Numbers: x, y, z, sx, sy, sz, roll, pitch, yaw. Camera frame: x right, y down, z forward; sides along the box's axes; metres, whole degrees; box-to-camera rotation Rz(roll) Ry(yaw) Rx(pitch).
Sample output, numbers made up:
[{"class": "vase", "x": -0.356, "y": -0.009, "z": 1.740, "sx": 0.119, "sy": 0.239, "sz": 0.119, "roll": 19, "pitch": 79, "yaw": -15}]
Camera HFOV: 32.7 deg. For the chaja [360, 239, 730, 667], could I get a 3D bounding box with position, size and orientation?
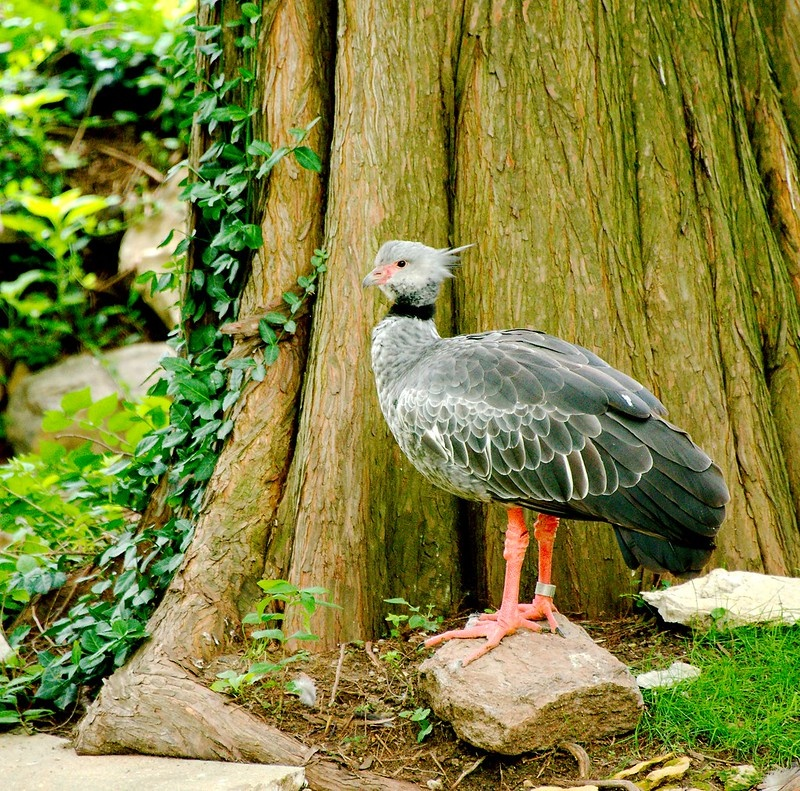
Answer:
[{"class": "chaja", "x": 0.741, "y": 0.175, "z": 6.744, "sx": 2.083, "sy": 2.334, "sz": 1.184, "roll": -2, "pitch": -4, "yaw": 17}]
